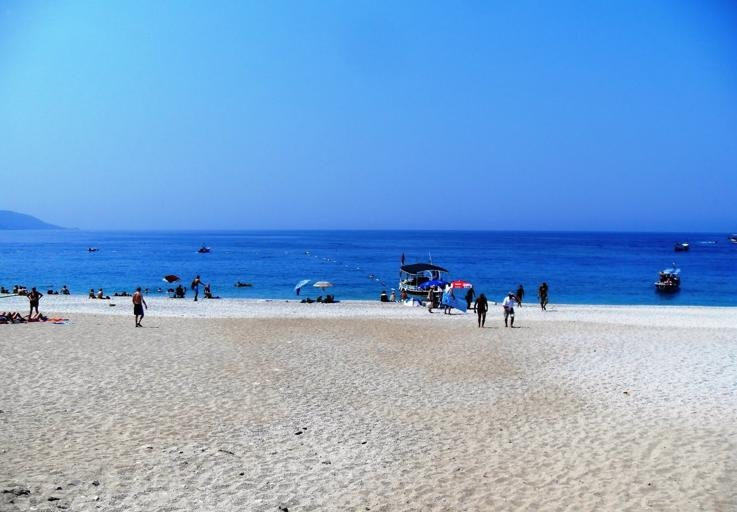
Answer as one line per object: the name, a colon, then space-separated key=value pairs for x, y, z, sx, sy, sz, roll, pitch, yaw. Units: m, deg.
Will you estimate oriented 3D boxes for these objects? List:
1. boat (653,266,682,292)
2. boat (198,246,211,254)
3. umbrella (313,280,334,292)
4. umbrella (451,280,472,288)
boat: x=32.202 y=2.592 z=71.283 sx=2.815 sy=2.253 sz=6.833 roll=-1 pitch=1 yaw=31
boat: x=-37.481 y=-1.347 z=148.540 sx=3.873 sy=1.429 sz=4.534 roll=0 pitch=-1 yaw=-14
umbrella: x=-3.845 y=2.921 z=58.942 sx=1.983 sy=0.916 sz=1.726 roll=0 pitch=0 yaw=-11
umbrella: x=6.712 y=2.018 z=46.580 sx=1.241 sy=0.379 sz=1.088 roll=5 pitch=-3 yaw=-10
